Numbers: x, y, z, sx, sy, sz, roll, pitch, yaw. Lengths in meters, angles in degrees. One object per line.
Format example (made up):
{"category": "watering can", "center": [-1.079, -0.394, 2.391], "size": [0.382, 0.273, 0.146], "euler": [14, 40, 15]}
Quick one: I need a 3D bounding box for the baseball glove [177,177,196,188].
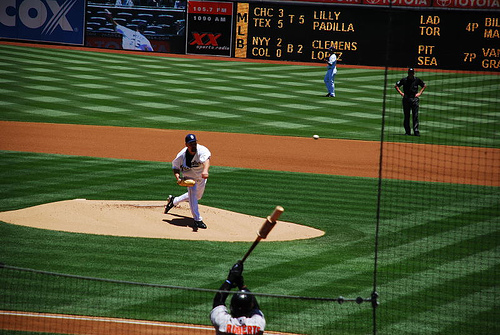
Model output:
{"category": "baseball glove", "center": [-1.916, 0.465, 23.929], "size": [0.503, 0.295, 0.524], "euler": [2, 4, 1]}

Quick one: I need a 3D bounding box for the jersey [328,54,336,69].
{"category": "jersey", "center": [3.895, -5.152, 38.210], "size": [0.509, 0.858, 0.812], "euler": [-2, 3, 6]}

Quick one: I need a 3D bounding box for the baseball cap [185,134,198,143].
{"category": "baseball cap", "center": [-1.808, -0.883, 23.836], "size": [0.247, 0.186, 0.338], "euler": [-5, -1, -27]}

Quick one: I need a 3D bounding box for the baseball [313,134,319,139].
{"category": "baseball", "center": [2.771, -1.307, 32.986], "size": [0.213, 0.130, 0.206], "euler": [-5, 10, -17]}

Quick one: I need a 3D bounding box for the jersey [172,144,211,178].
{"category": "jersey", "center": [-1.895, -0.023, 24.136], "size": [1.310, 1.125, 0.737], "euler": [11, -19, -31]}
